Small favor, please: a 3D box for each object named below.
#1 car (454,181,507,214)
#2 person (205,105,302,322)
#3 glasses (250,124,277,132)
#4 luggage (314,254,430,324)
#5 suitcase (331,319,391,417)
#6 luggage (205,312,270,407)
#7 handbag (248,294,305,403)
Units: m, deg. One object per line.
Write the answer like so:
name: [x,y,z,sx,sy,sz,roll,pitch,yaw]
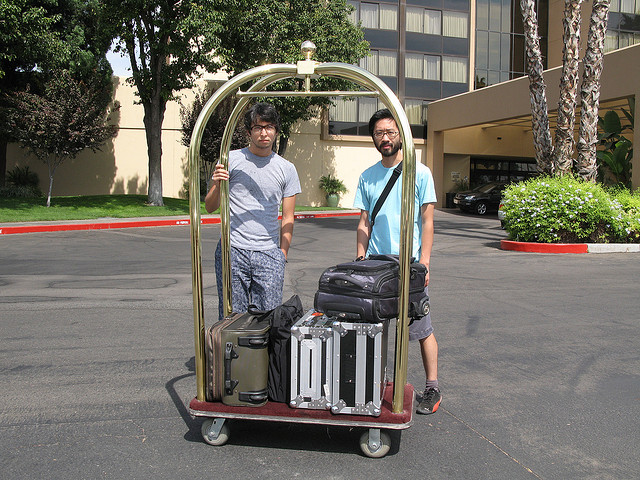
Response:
car: [8.602,-2.229,30.492,2.346,1.575,1.465,-1,8,-13]
person: [-0.484,-0.264,4.818,0.598,1.745,0.390,-1,8,-7]
glasses: [-0.468,-0.908,4.592,0.186,0.065,0.074,-1,8,-13]
luggage: [0.425,0.364,4.525,0.740,0.531,0.721,0,2,-40]
suitcase: [0.304,0.965,4.481,0.381,0.649,0.699,1,0,9]
luggage: [-0.623,0.893,4.559,0.460,0.663,0.817,0,0,4]
handbag: [-0.275,0.847,4.781,0.529,0.989,0.709,0,2,11]
